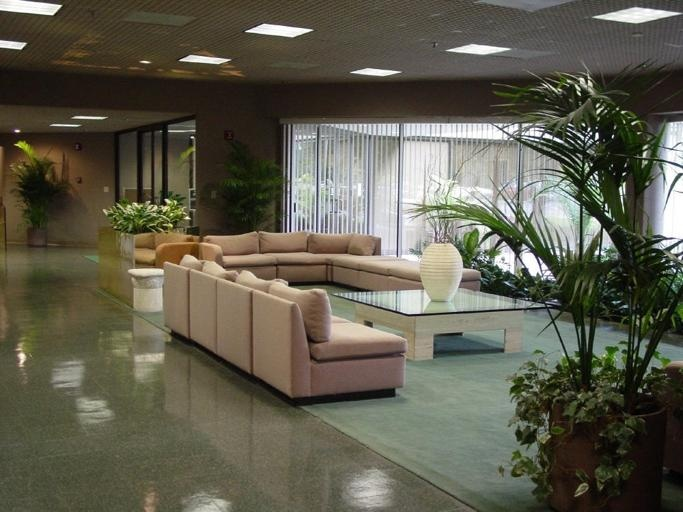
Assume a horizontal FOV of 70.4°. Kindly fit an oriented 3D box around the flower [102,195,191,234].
[{"bbox_3d":[-3.782,-0.707,9.410,1.509,0.719,1.471,5,-2,-23],"label":"flower"}]

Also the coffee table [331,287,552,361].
[{"bbox_3d":[1.204,0.848,6.340,1.920,0.347,1.788,1,-3,-20],"label":"coffee table"}]
